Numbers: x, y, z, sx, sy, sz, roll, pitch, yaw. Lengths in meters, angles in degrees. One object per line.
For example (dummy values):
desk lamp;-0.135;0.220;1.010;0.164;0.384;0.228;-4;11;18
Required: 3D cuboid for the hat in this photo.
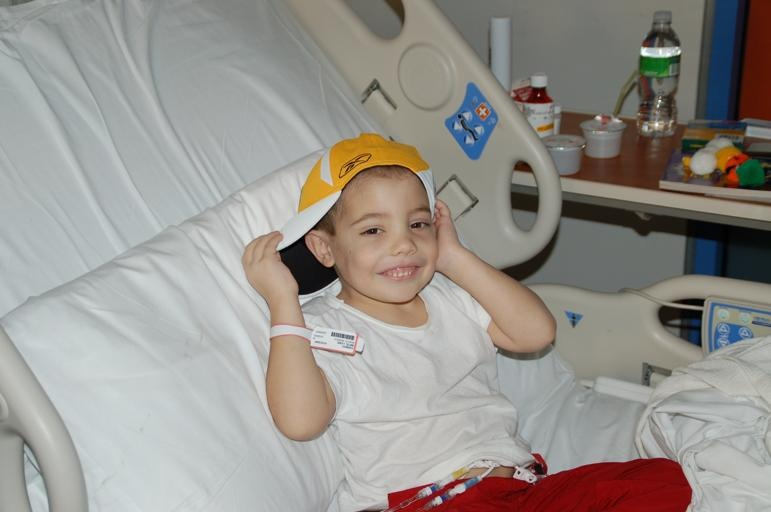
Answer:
hat;-0.148;-0.132;1.390;0.438;0.226;0.281;-40;-15;20
